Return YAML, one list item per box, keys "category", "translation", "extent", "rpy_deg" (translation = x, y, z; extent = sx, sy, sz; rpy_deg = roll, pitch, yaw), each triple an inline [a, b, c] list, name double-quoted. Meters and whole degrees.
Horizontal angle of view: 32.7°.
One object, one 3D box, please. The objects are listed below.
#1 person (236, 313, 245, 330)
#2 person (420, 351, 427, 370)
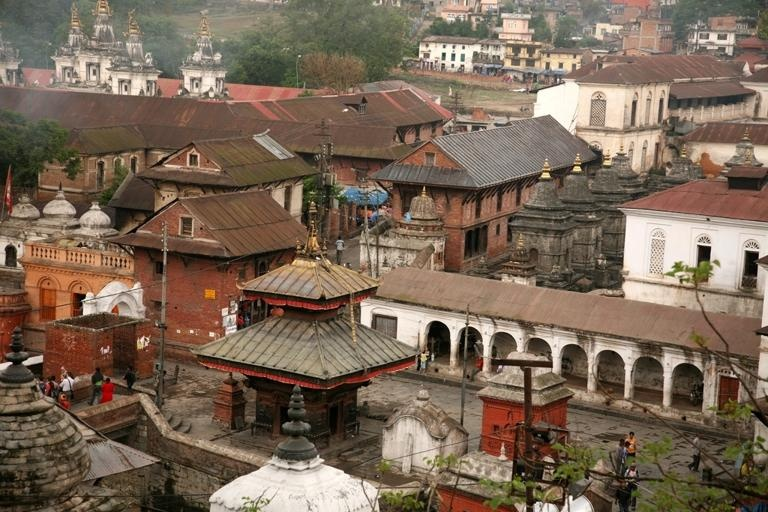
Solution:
- category: "person"
  translation: [-6.917, 3.149, 63.112]
  extent: [0.238, 0.809, 0.683]
  rpy_deg: [2, 10, 12]
- category: "person"
  translation: [1.865, 4.943, 61.141]
  extent: [0.286, 0.856, 0.564]
  rpy_deg: [4, 11, 21]
